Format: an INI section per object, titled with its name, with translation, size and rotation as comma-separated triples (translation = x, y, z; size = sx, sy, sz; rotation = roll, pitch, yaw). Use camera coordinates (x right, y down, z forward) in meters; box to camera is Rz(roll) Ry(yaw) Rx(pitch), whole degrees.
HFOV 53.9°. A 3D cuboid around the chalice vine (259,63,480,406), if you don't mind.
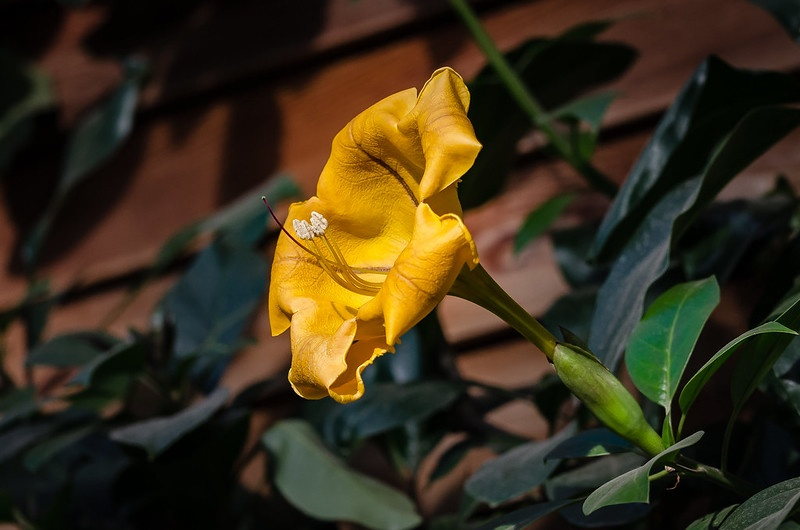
[chalice vine]
translation = -0.044, -0.055, 1.388
size = 0.203, 0.559, 0.514
rotation = 16, -9, -26
